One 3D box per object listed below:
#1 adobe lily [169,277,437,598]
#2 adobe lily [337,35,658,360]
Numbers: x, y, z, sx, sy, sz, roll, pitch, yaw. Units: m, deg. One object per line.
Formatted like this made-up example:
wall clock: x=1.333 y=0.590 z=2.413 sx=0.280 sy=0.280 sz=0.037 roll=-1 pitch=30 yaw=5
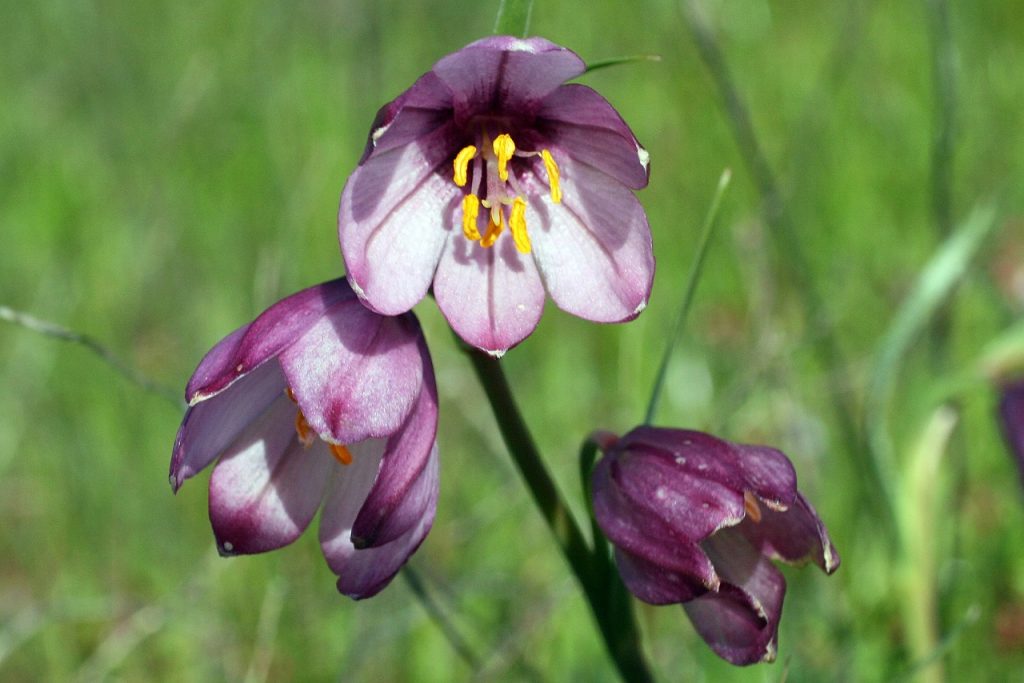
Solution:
adobe lily: x=-0.332 y=0.172 z=1.945 sx=0.436 sy=0.542 sz=0.221 roll=-23 pitch=0 yaw=-31
adobe lily: x=-0.009 y=-0.230 z=1.945 sx=0.408 sy=0.606 sz=0.295 roll=28 pitch=7 yaw=0
